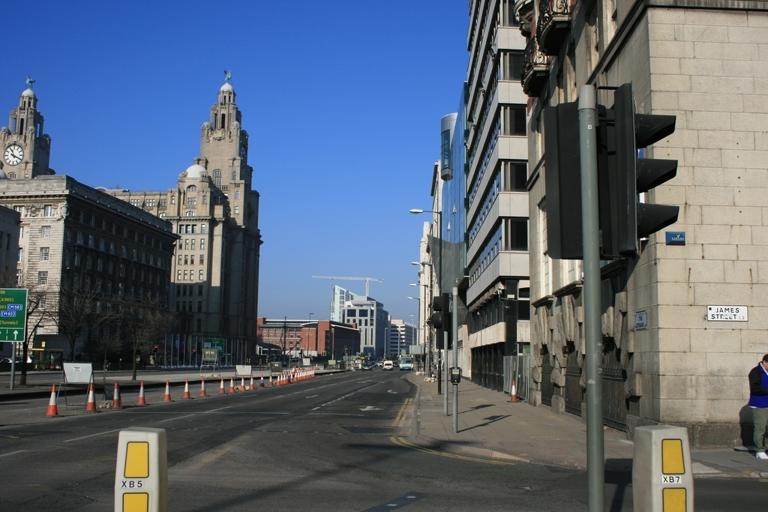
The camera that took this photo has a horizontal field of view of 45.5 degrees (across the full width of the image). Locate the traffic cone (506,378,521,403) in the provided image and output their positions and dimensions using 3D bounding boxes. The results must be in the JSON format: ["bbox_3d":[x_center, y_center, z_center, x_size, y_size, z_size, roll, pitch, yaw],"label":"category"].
[{"bbox_3d":[6.202,6.334,43.405,0.794,0.905,0.810,5,-12,-29],"label":"traffic cone"}]

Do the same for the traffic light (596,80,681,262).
[{"bbox_3d":[4.581,-1.629,16.840,1.341,3.252,0.826,-3,-10,14],"label":"traffic light"}]

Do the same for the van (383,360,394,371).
[{"bbox_3d":[0.657,18.856,160.233,1.245,1.187,2.147,0,-12,3],"label":"van"}]

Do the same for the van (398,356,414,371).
[{"bbox_3d":[3.736,17.902,154.367,3.057,2.334,5.026,0,-9,-3],"label":"van"}]
